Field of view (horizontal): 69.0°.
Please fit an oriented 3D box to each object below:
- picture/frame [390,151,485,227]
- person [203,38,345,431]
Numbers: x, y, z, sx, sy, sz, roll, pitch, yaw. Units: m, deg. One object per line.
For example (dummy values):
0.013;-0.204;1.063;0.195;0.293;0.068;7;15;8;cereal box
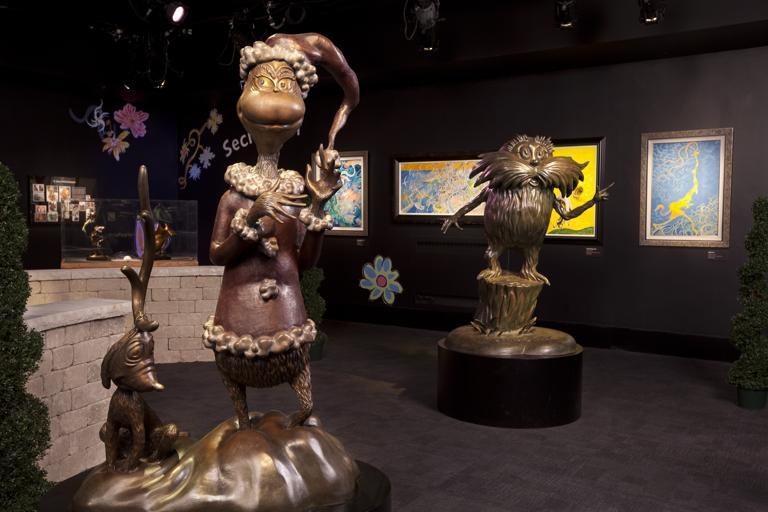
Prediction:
0.788;-0.942;7.755;1.217;0.936;0.055;2;4;25;picture/frame
-0.494;-0.137;2.596;0.646;1.822;0.435;0;7;-1;person
